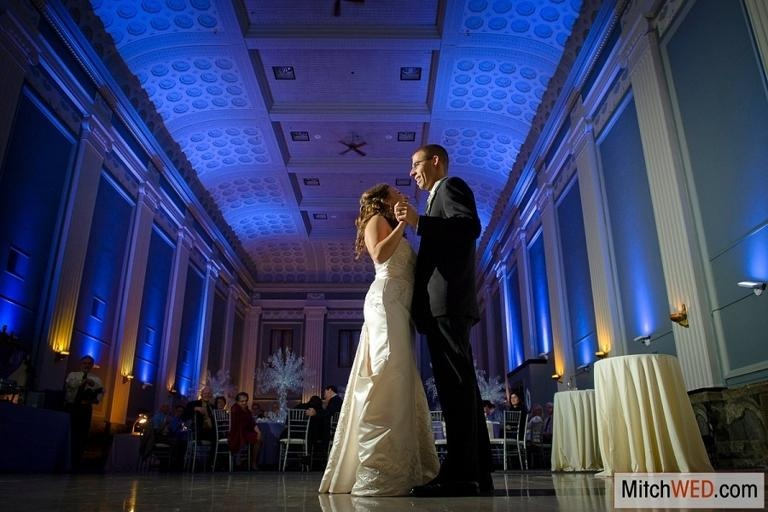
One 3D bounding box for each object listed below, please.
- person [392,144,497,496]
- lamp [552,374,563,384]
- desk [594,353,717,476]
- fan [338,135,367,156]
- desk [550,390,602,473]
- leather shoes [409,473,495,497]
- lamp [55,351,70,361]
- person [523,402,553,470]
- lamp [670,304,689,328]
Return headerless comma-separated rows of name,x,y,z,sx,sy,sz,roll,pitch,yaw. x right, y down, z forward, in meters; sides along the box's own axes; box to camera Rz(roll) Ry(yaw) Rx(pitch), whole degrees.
person,0.404,0.194,2.827,0.514,2.459,0.875,-4,-26,13
lamp,4.092,2.867,10.001,0.200,0.289,0.731,-7,-27,18
desk,2.580,1.575,4.244,0.903,1.106,0.449,-16,-30,33
fan,-0.886,-3.251,12.569,0.832,0.192,0.767,3,-26,-3
desk,2.842,2.518,6.380,0.766,1.045,0.799,-1,-7,25
leather shoes,0.380,1.334,2.519,0.572,0.178,0.199,-1,-37,1
lamp,-5.758,1.767,7.656,0.160,0.124,0.189,-3,-49,-15
person,3.352,3.819,9.133,0.607,1.319,1.940,-6,-27,16
lamp,4.064,0.827,5.833,0.213,0.319,0.244,-16,-31,33
